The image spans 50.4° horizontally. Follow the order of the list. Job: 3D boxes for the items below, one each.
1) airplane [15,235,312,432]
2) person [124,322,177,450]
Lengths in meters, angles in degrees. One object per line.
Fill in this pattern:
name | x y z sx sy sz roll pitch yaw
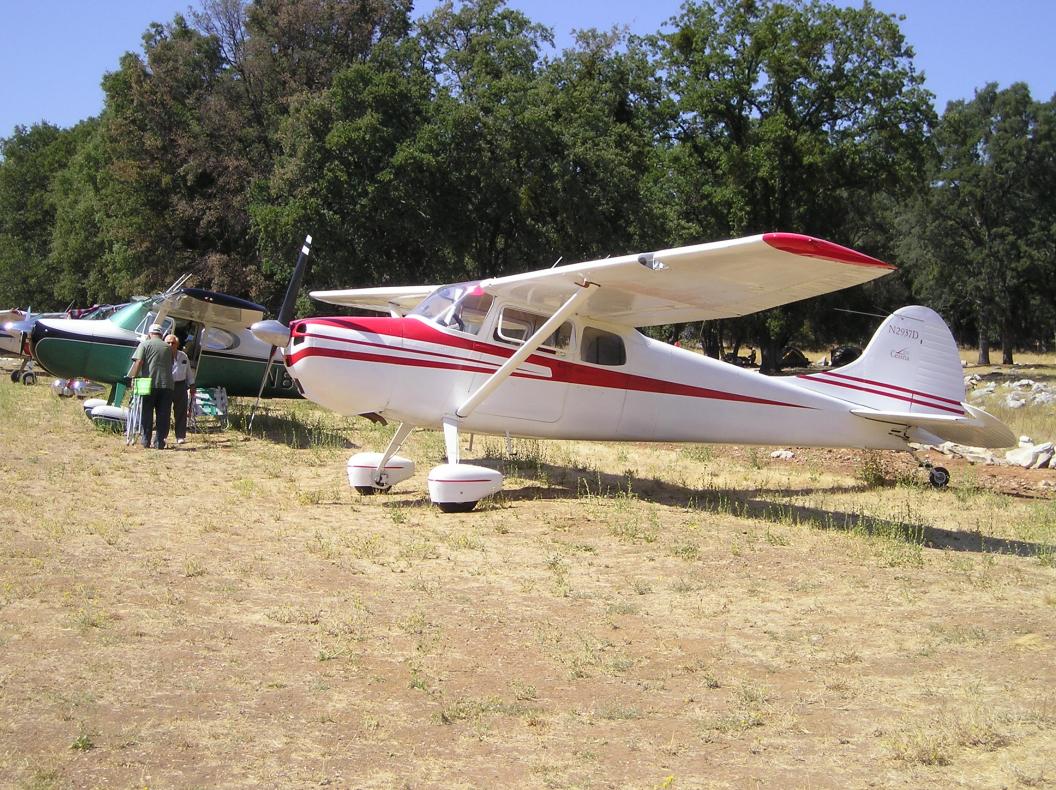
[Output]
airplane | -6.046 -0.929 19.387 3.980 2.257 4.025 2 0 -30
person | -5.800 -0.057 17.508 0.653 1.866 0.784 -3 14 -20
